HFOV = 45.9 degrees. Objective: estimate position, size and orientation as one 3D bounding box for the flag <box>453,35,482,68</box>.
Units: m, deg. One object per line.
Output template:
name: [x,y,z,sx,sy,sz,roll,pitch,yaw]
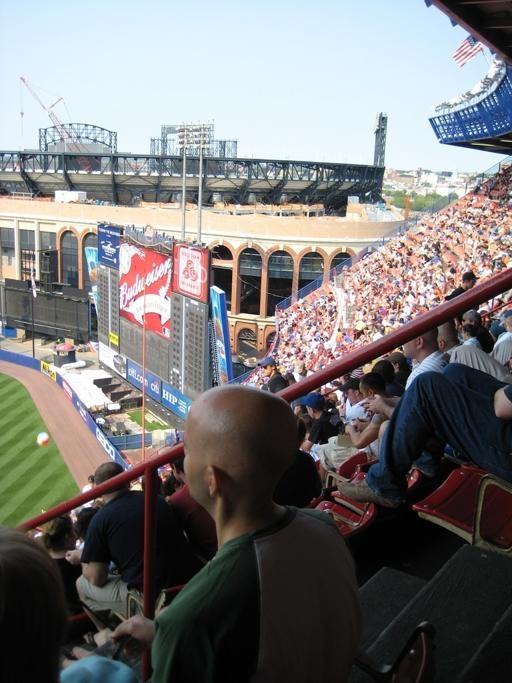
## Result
flag: [7.491,-10.242,21.356,0.872,0.916,1.293,4,11,13]
